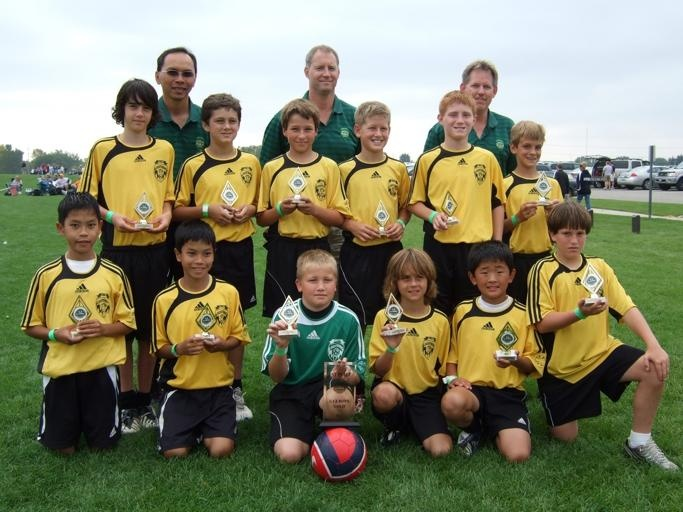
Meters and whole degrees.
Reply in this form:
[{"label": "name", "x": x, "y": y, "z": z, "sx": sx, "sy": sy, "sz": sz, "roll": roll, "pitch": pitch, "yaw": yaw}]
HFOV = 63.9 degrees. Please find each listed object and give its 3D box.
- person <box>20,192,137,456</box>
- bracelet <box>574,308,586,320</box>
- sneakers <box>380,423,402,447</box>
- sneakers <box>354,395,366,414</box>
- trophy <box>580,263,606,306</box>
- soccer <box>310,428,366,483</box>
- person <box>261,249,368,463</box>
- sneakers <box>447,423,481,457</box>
[{"label": "person", "x": -2.415, "y": 0.649, "z": 5.058, "sx": 0.951, "sy": 2.388, "sz": 0.688, "roll": -6, "pitch": 13, "yaw": -22}, {"label": "bracelet", "x": 2.126, "y": 0.529, "z": 4.893, "sx": 0.067, "sy": 0.094, "sz": 0.096, "roll": 39, "pitch": 28, "yaw": -12}, {"label": "sneakers", "x": 0.462, "y": 1.679, "z": 5.111, "sx": 0.216, "sy": 0.160, "sz": 0.156, "roll": -2, "pitch": 12, "yaw": -6}, {"label": "sneakers", "x": 0.187, "y": 1.558, "z": 5.665, "sx": 0.145, "sy": 0.164, "sz": 0.062, "roll": 1, "pitch": -5, "yaw": -11}, {"label": "trophy", "x": 2.283, "y": 0.265, "z": 4.966, "sx": 0.210, "sy": 0.317, "sz": 0.554, "roll": 5, "pitch": 14, "yaw": 25}, {"label": "soccer", "x": -0.026, "y": 1.686, "z": 4.599, "sx": 0.407, "sy": 0.332, "sz": 0.350, "roll": -8, "pitch": 15, "yaw": -32}, {"label": "person", "x": -0.261, "y": 0.956, "z": 5.192, "sx": 0.985, "sy": 1.877, "sz": 1.088, "roll": -3, "pitch": 12, "yaw": -9}, {"label": "sneakers", "x": 1.121, "y": 1.700, "z": 4.978, "sx": 0.174, "sy": 0.213, "sz": 0.497, "roll": -4, "pitch": -9, "yaw": 15}]
